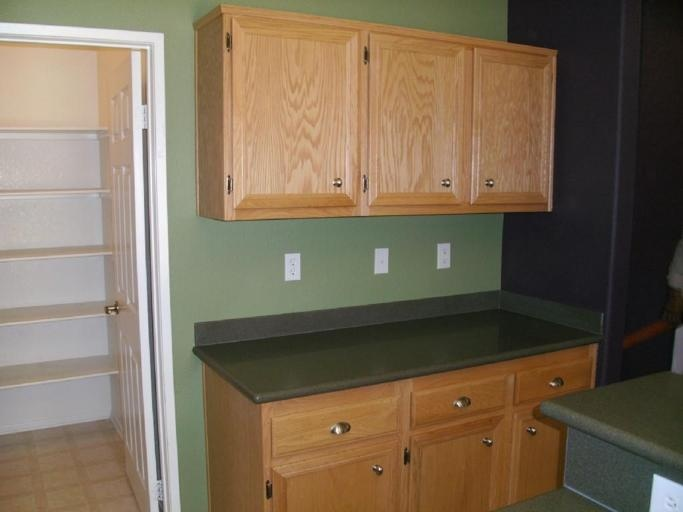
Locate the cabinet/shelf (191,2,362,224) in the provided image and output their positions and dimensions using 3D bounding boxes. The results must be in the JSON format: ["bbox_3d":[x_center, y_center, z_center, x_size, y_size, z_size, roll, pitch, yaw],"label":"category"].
[{"bbox_3d":[-0.266,-0.588,2.361,0.874,1.048,0.513,-2,4,-26],"label":"cabinet/shelf"}]
